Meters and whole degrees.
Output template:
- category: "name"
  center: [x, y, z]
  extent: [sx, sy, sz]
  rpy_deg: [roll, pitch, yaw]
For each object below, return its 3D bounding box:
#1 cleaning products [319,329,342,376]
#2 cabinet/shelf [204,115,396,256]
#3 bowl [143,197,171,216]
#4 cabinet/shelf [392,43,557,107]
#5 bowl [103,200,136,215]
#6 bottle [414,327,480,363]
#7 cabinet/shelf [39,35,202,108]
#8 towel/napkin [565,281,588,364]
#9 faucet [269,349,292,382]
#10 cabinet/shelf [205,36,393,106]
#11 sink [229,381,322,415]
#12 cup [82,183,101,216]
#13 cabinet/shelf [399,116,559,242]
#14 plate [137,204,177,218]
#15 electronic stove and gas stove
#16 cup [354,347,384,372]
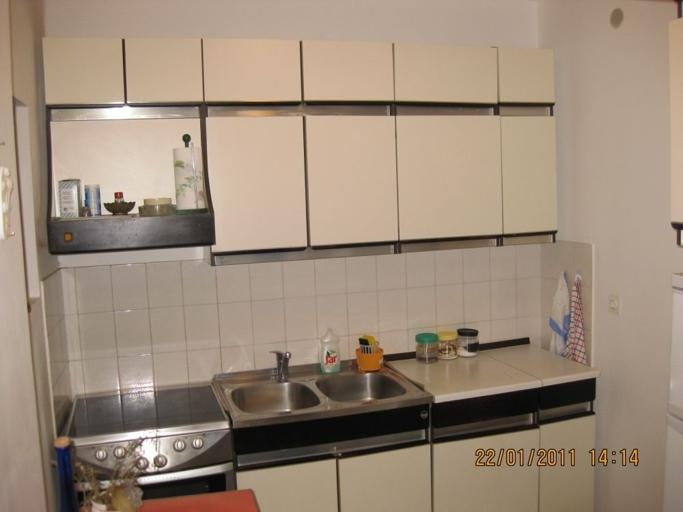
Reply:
- category: "cleaning products"
  center: [-0.065, 0.524, 3.370]
  extent: [0.152, 0.240, 0.154]
  rpy_deg: [4, 8, 37]
- category: "cabinet/shelf"
  center: [-0.232, -0.365, 3.315]
  extent: [0.749, 1.087, 0.571]
  rpy_deg: [-1, 4, -13]
- category: "bowl"
  center: [-0.834, -0.221, 2.726]
  extent: [0.093, 0.059, 0.096]
  rpy_deg: [0, 7, 0]
- category: "cabinet/shelf"
  center: [0.707, -0.947, 3.301]
  extent: [0.880, 0.307, 0.269]
  rpy_deg: [0, 1, -7]
- category: "bowl"
  center: [-1.022, -0.220, 2.774]
  extent: [0.123, 0.068, 0.190]
  rpy_deg: [-6, 5, -19]
- category: "bottle"
  center: [0.638, 0.508, 3.523]
  extent: [0.443, 0.176, 0.135]
  rpy_deg: [-6, 4, -18]
- category: "cabinet/shelf"
  center: [-1.042, -0.866, 2.836]
  extent: [0.673, 0.358, 0.310]
  rpy_deg: [-5, 3, -10]
- category: "towel/napkin"
  center: [1.315, 0.345, 3.383]
  extent: [0.065, 0.493, 0.132]
  rpy_deg: [-6, 4, -23]
- category: "faucet"
  center: [-0.327, 0.589, 3.311]
  extent: [0.099, 0.164, 0.174]
  rpy_deg: [-5, 4, -6]
- category: "cabinet/shelf"
  center: [-0.217, -0.930, 3.131]
  extent: [0.944, 0.324, 0.297]
  rpy_deg: [-2, 7, -9]
- category: "sink"
  center: [-0.362, 0.752, 3.186]
  extent: [0.278, 0.105, 0.225]
  rpy_deg: [1, 4, -20]
- category: "cup"
  center: [-1.159, -0.260, 2.800]
  extent: [0.074, 0.098, 0.085]
  rpy_deg: [-6, 4, -23]
- category: "cabinet/shelf"
  center: [0.695, -0.414, 3.447]
  extent: [0.964, 0.703, 0.487]
  rpy_deg: [-3, 5, -16]
- category: "plate"
  center: [-0.831, -0.204, 2.696]
  extent: [0.162, 0.056, 0.125]
  rpy_deg: [-5, 4, -10]
- category: "electronic stove and gas stove"
  center: [-0.944, 0.823, 2.963]
  extent: [0.453, 0.182, 0.495]
  rpy_deg: [-2, 5, -19]
- category: "cup"
  center: [0.156, 0.570, 3.377]
  extent: [0.139, 0.110, 0.117]
  rpy_deg: [1, 2, 20]
